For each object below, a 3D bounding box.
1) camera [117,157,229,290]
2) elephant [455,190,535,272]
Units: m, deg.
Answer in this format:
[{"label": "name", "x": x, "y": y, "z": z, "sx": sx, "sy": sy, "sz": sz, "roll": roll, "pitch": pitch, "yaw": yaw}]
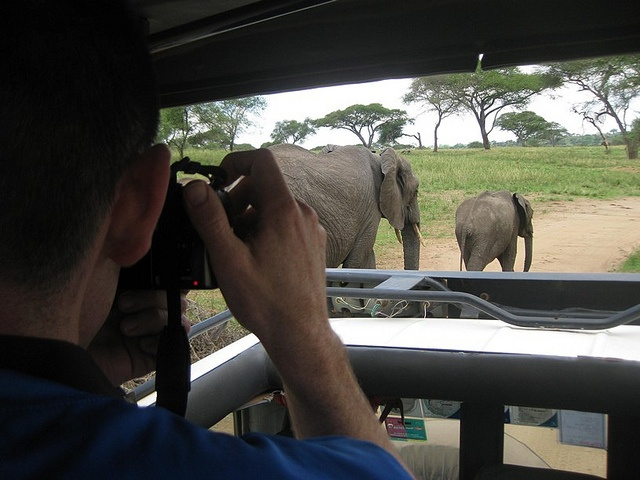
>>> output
[{"label": "camera", "x": -0.189, "y": -0.025, "z": 0.751, "sx": 0.175, "sy": 0.182, "sz": 0.113, "roll": 5, "pitch": 7, "yaw": 28}, {"label": "elephant", "x": 3.103, "y": -0.031, "z": 9.053, "sx": 1.060, "sy": 1.570, "sz": 2.146, "roll": -1, "pitch": 9, "yaw": 29}]
